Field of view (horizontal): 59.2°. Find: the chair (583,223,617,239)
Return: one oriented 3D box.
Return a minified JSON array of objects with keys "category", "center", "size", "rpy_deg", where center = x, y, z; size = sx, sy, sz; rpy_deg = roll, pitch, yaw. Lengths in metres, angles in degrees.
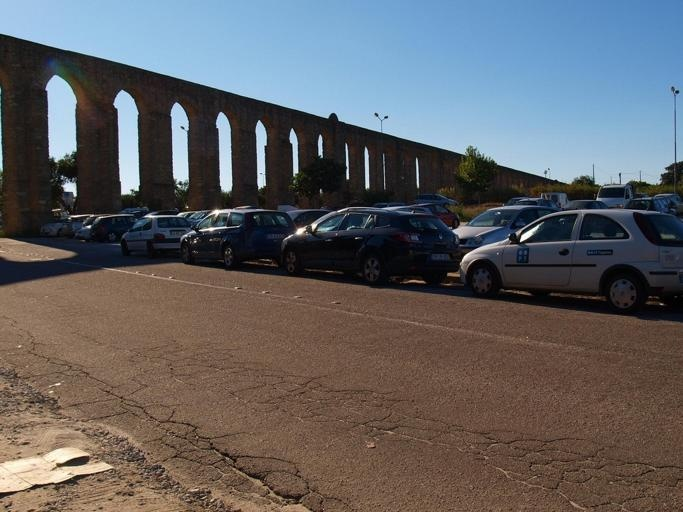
[{"category":"chair","center":[4.505,-0.408,10.467],"size":[0.204,0.271,0.728],"rpy_deg":[-1,4,-28]}]
